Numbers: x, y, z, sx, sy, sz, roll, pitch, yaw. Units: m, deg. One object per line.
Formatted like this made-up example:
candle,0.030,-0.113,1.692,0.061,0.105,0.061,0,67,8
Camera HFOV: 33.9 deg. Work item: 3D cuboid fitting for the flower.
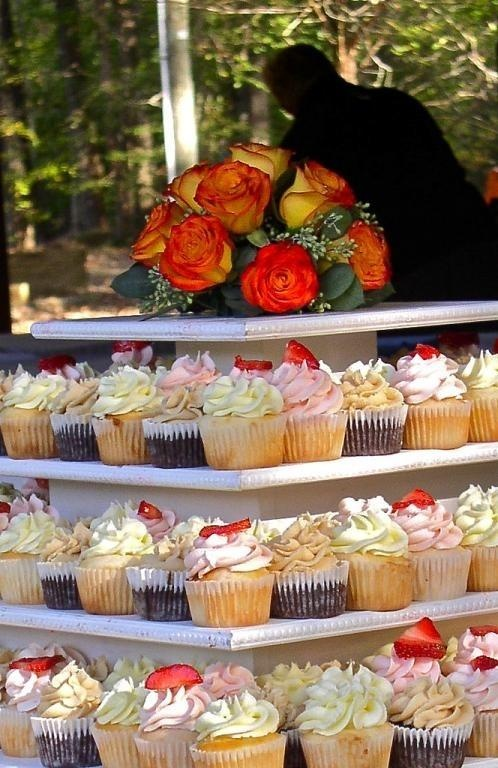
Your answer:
flower,-0.008,-0.208,1.394,0.383,0.186,0.385,-11,9,-43
